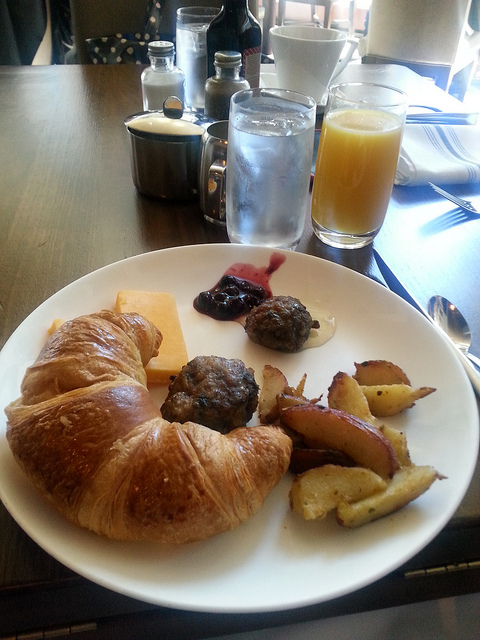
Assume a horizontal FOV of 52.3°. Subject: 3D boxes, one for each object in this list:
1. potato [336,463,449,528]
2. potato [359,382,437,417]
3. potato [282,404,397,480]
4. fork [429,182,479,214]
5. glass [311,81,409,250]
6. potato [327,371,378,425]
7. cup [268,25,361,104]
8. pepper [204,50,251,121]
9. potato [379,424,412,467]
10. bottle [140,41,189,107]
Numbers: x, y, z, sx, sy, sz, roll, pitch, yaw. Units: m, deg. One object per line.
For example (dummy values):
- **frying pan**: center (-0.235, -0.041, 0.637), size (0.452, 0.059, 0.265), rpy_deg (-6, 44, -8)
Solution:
- **potato**: center (0.153, 0.180, 0.505), size (0.118, 0.046, 0.037), rpy_deg (-18, 45, -25)
- **potato**: center (0.192, 0.100, 0.622), size (0.111, 0.046, 0.040), rpy_deg (-9, 34, 14)
- **potato**: center (0.111, 0.129, 0.557), size (0.148, 0.049, 0.055), rpy_deg (18, 23, 35)
- **fork**: center (0.518, -0.294, 1.195), size (0.139, 0.011, 0.025), rpy_deg (39, 67, 9)
- **glass**: center (0.222, -0.301, 0.952), size (0.147, 0.273, 0.163), rpy_deg (7, 42, 7)
- **potato**: center (0.129, 0.091, 0.631), size (0.067, 0.057, 0.068), rpy_deg (-3, 21, -14)
- **cup**: center (0.210, -0.789, 1.503), size (0.284, 0.226, 0.264), rpy_deg (-1, 38, 1)
- **pepper**: center (-0.034, -0.548, 1.219), size (0.109, 0.209, 0.118), rpy_deg (-6, 36, -13)
- **potato**: center (0.174, 0.142, 0.550), size (0.033, 0.010, 0.038), rpy_deg (4, 65, -26)
- **bottle**: center (-0.218, -0.678, 1.466), size (0.127, 0.246, 0.137), rpy_deg (0, 29, 0)
